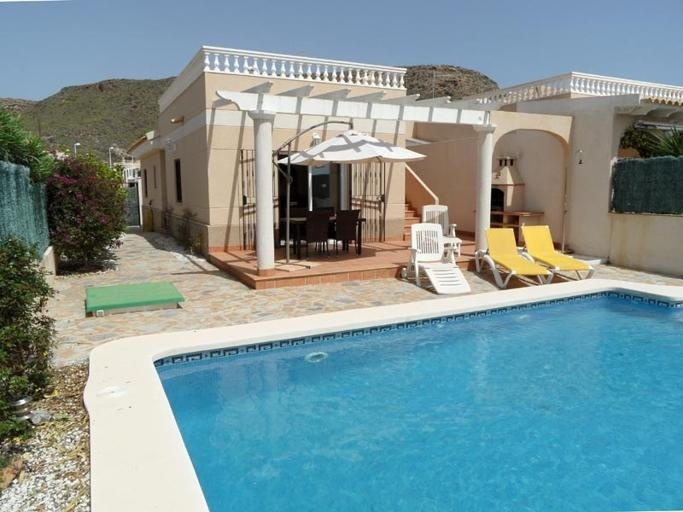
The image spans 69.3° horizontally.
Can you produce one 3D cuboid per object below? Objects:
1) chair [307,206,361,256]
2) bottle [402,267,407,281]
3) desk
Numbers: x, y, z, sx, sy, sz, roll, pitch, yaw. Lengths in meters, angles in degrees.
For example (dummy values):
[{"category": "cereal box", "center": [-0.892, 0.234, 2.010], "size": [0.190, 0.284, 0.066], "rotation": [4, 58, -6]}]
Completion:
[{"category": "chair", "center": [-0.216, -0.517, 12.153], "size": [1.578, 1.032, 1.146], "rotation": [-2, 17, -10]}, {"category": "bottle", "center": [1.423, 0.368, 11.132], "size": [0.123, 0.243, 0.381], "rotation": [-1, 5, 6]}, {"category": "desk", "center": [-0.437, -0.640, 12.283], "size": [1.824, 0.936, 1.240], "rotation": [-4, 5, -23]}]
